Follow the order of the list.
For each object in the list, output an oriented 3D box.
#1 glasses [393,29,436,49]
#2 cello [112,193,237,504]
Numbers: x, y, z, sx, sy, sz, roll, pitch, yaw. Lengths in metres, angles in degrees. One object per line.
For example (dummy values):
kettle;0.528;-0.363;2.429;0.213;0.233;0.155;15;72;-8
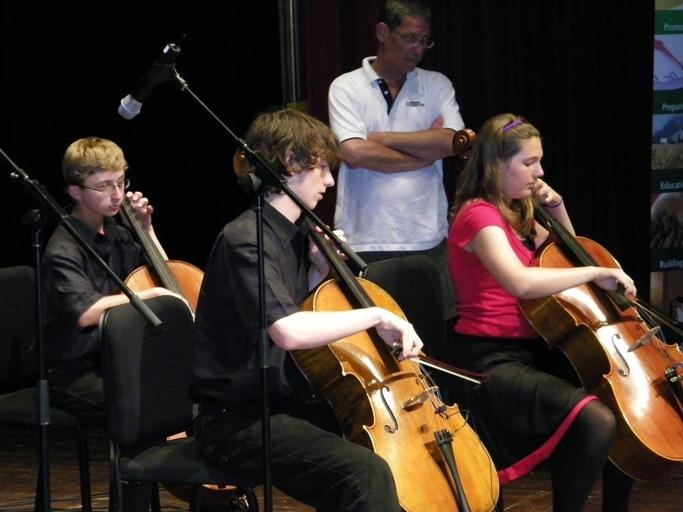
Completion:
glasses;0.349;-1.010;3.518;0.174;0.079;0.055;-9;4;-29
cello;-0.750;0.417;3.338;0.218;1.307;0.505;-33;-17;34
